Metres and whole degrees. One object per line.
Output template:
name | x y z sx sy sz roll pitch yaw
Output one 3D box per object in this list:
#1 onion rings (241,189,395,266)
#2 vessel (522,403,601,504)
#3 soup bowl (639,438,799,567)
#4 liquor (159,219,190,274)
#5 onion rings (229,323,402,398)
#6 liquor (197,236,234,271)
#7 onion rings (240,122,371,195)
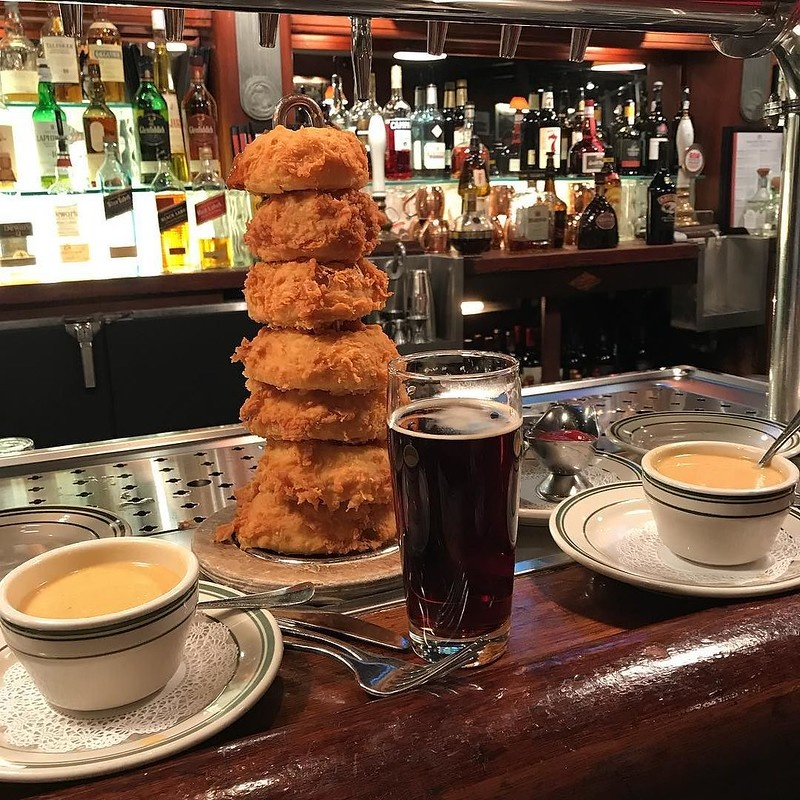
onion rings | -0.077 -0.154 0.615 0.122 0.049 0.096 9 11 34
vessel | 0.178 0.055 0.743 0.081 0.083 0.069 -12 16 -38
soup bowl | 0.234 0.070 0.525 0.113 0.053 0.099 1 13 6
liquor | -0.803 -0.524 2.437 0.141 0.157 0.122 -5 24 -21
onion rings | -0.055 -0.038 0.639 0.162 0.052 0.170 0 6 0
liquor | -0.626 -0.522 2.515 0.156 0.116 0.133 -1 15 -5
onion rings | -0.076 -0.205 0.609 0.128 0.044 0.101 10 20 38
